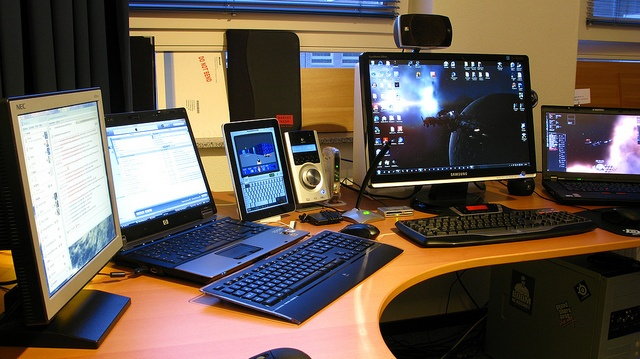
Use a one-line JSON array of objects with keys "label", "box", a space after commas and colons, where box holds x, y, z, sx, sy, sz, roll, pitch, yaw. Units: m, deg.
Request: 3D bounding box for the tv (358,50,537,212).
[{"label": "tv", "box": [0.614, -0.246, 2.224, 1.025, 0.691, 0.148, -3, 12, -13]}]

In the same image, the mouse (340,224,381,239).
[{"label": "mouse", "box": [0.184, 0.210, 1.958, 0.135, 0.037, 0.071, 7, 5, 19]}]

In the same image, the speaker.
[{"label": "speaker", "box": [0.503, -0.641, 2.308, 0.403, 0.234, 0.196, -1, 10, -17]}]

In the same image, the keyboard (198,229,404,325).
[{"label": "keyboard", "box": [-0.012, 0.343, 1.809, 0.438, 0.061, 0.746, 4, 15, 36]}]

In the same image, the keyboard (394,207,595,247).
[{"label": "keyboard", "box": [0.784, 0.197, 2.090, 0.875, 0.076, 0.389, -3, 15, -14]}]
